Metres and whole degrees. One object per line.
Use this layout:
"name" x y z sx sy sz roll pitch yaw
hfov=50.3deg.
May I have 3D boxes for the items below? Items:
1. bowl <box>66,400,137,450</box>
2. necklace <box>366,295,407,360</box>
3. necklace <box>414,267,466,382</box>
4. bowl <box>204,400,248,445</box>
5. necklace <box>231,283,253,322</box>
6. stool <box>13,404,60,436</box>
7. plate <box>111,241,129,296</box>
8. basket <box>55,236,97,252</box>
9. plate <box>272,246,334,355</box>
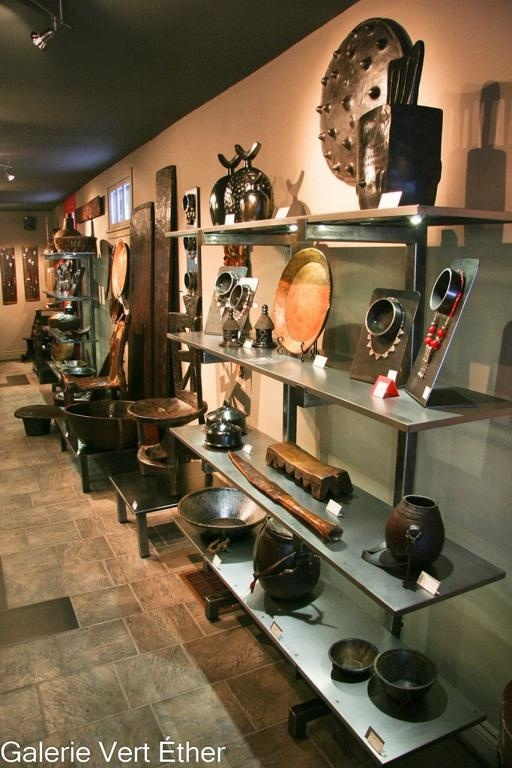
"bowl" -1.158 0.325 4.087 0.486 0.331 0.784 -4 10 -17
"necklace" 0.315 -0.140 1.407 0.041 0.143 0.129 -2 18 -19
"necklace" 0.414 -0.134 1.233 0.066 0.249 0.147 -2 10 -7
"bowl" -0.114 0.160 2.414 0.178 0.174 0.180 4 8 -1
"necklace" -0.053 -0.357 2.403 0.064 0.154 0.125 -6 -2 -38
"stool" -2.222 0.397 5.623 0.421 0.275 0.577 -5 10 -21
"plate" -1.427 -1.194 5.735 0.149 0.588 0.915 -4 10 -17
"basket" -2.160 -1.680 6.563 0.458 0.198 0.338 -4 10 -16
"plate" 0.203 -0.311 1.996 0.058 0.348 0.347 -2 2 -44
